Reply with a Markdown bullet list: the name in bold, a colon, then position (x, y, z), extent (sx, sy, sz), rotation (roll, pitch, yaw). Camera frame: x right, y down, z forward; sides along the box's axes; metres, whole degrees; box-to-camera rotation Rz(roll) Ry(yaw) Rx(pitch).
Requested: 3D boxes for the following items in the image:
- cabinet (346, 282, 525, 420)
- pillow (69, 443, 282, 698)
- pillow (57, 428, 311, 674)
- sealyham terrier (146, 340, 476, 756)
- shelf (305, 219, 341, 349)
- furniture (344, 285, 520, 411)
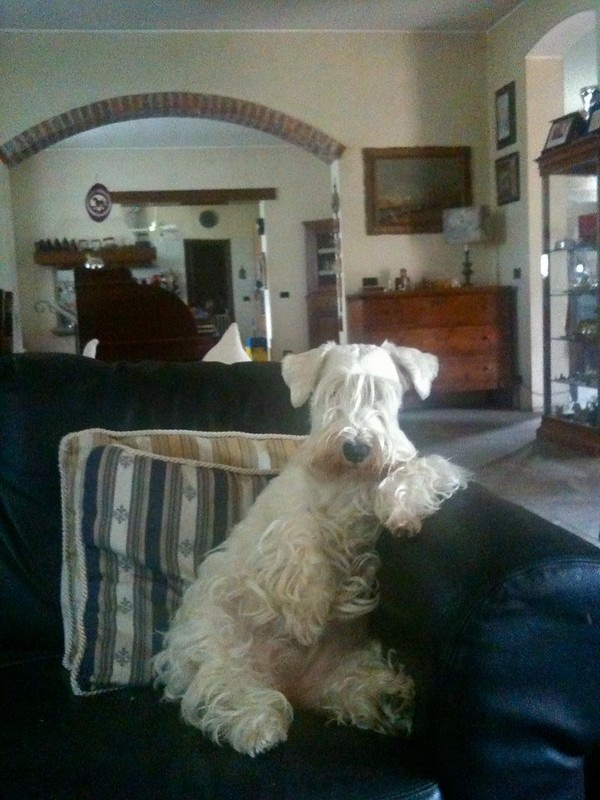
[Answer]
- **cabinet**: position (1.174, -0.593, 6.123), extent (1.687, 1.352, 0.944), rotation (-1, 2, -5)
- **pillow**: position (-0.293, 0.278, 1.212), extent (0.382, 0.380, 0.115), rotation (2, 2, -18)
- **pillow**: position (-0.208, 0.268, 1.144), extent (0.388, 0.369, 0.101), rotation (2, -11, -19)
- **sealyham terrier**: position (0.015, 0.210, 1.072), extent (0.331, 0.607, 0.429), rotation (10, -7, -40)
- **shelf**: position (0.337, -1.467, 9.259), extent (0.474, 1.957, 0.412), rotation (-3, 22, -3)
- **furniture**: position (1.195, -0.256, 6.237), extent (1.657, 1.334, 0.941), rotation (-1, 2, -4)
